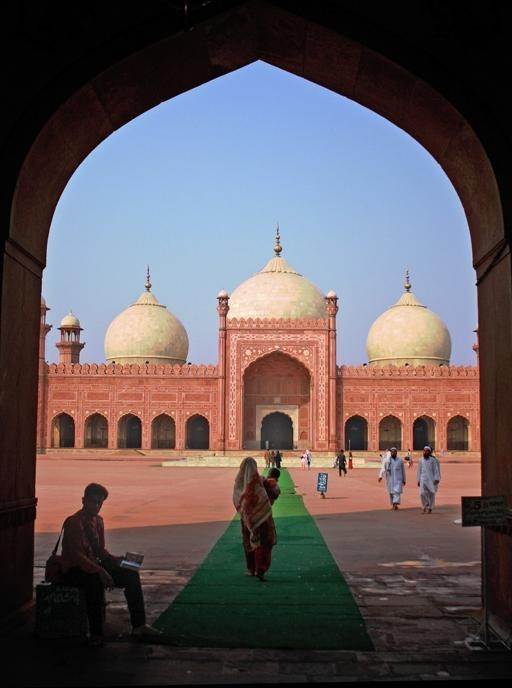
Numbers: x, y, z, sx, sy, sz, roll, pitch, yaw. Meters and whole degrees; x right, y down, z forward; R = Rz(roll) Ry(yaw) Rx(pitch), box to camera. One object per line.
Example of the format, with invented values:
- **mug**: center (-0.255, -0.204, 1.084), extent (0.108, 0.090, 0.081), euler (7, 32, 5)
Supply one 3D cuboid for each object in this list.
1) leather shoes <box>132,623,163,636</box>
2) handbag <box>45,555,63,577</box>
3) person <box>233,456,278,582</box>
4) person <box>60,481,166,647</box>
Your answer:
- **leather shoes**: center (-0.521, 1.369, 4.263), extent (0.139, 0.055, 0.051), euler (1, -5, -1)
- **handbag**: center (-1.017, 1.122, 4.455), extent (0.079, 0.139, 0.210), euler (2, -7, -14)
- **person**: center (-0.004, 1.147, 5.928), extent (0.290, 0.762, 0.530), euler (0, -7, 1)
- **person**: center (-0.751, 1.079, 4.502), extent (0.484, 0.728, 0.635), euler (2, -7, -12)
